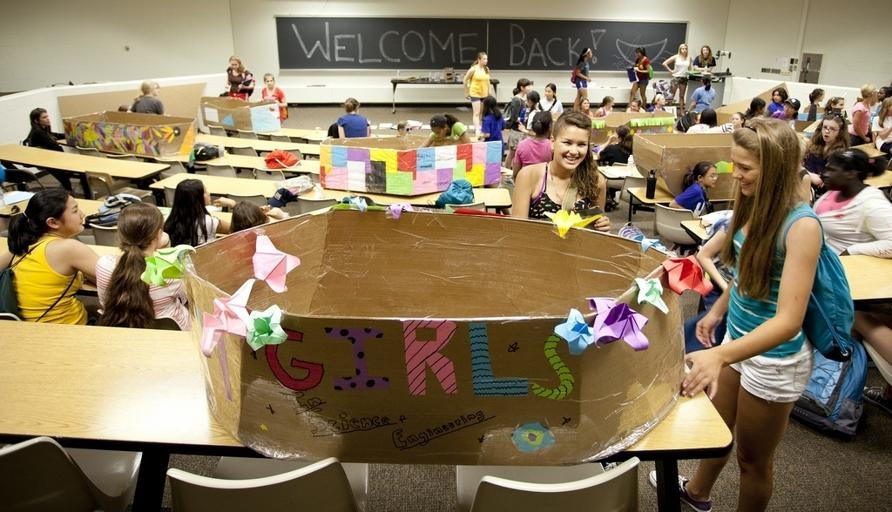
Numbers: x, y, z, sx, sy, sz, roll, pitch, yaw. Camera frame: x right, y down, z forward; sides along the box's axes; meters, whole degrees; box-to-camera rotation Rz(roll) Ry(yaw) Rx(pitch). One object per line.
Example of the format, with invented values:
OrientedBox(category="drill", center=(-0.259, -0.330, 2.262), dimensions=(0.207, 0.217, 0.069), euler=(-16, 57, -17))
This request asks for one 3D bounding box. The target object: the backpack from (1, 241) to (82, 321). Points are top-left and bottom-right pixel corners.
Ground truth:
OrientedBox(category="backpack", center=(-2.689, 0.117, 4.102), dimensions=(0.373, 0.511, 0.284), euler=(4, 26, 30))

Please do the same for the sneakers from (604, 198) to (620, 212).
OrientedBox(category="sneakers", center=(2.173, -0.692, 7.639), dimensions=(0.237, 0.105, 0.307), euler=(1, 14, 7))

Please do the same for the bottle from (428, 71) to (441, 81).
OrientedBox(category="bottle", center=(-0.232, -4.350, 14.025), dimensions=(0.316, 0.197, 0.588), euler=(-2, 18, -2))

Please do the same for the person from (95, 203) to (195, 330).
OrientedBox(category="person", center=(-2.035, 0.088, 4.032), dimensions=(0.623, 0.982, 0.733), euler=(-2, 33, -21))
